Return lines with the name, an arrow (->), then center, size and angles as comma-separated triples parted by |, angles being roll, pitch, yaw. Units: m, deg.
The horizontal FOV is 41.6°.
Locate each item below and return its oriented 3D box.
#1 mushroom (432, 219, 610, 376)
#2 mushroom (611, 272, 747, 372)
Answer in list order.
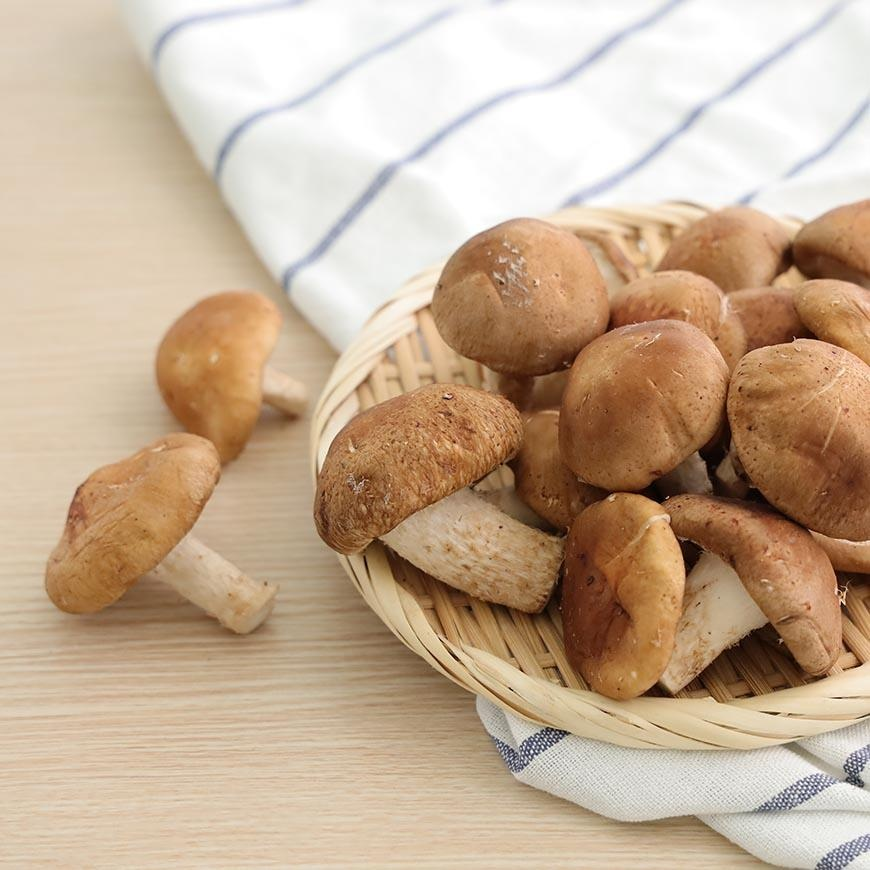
mushroom -> 0.142, -0.213, 1.918 | 0.336, 0.203, 0.252 | -7, 41, -10
mushroom -> 0.399, -0.203, 1.876 | 0.237, 0.091, 0.184 | 0, 29, -1
